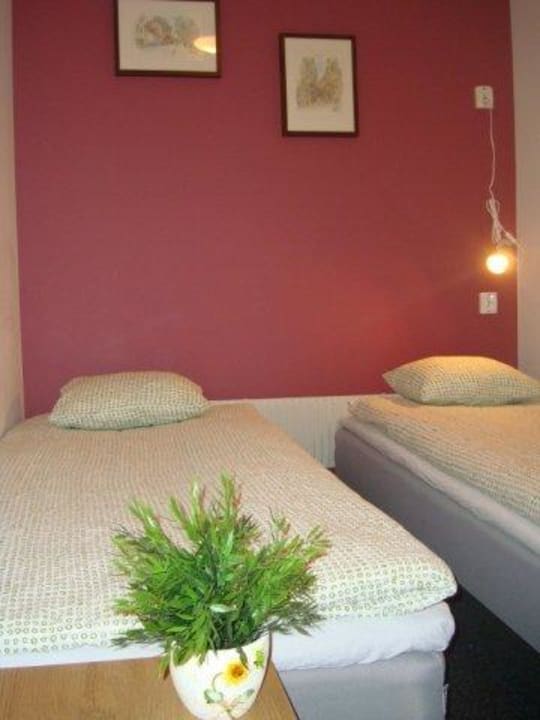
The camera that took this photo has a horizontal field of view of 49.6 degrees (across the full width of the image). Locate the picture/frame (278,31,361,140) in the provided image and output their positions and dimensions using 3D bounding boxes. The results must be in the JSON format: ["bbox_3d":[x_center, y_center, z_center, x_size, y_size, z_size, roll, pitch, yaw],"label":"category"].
[{"bbox_3d":[0.218,-1.316,2.771,0.539,0.608,0.042,-1,4,-10],"label":"picture/frame"}]

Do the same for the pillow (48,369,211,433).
[{"bbox_3d":[-0.539,0.165,2.216,0.345,0.100,0.294,-5,16,-8],"label":"pillow"}]
